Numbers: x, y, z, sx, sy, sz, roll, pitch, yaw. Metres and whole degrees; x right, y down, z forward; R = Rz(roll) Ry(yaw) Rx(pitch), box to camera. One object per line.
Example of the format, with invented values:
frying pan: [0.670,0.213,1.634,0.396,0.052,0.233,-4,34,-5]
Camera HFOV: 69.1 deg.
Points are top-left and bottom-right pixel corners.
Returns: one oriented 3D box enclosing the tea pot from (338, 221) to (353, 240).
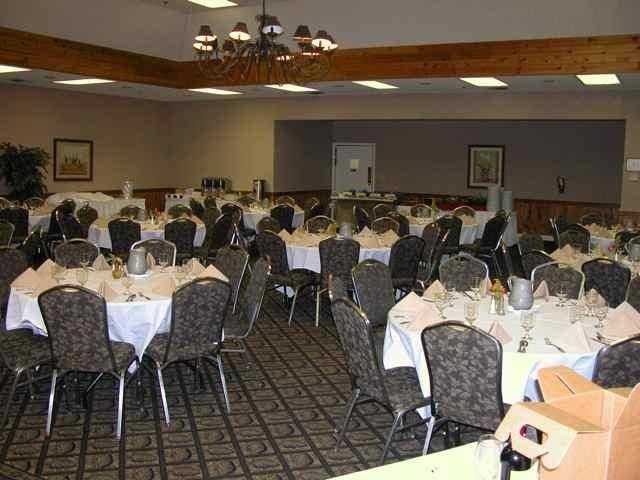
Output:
tea pot: [0.333,-0.123,6.028,0.222,0.237,0.221,0,-1,0]
